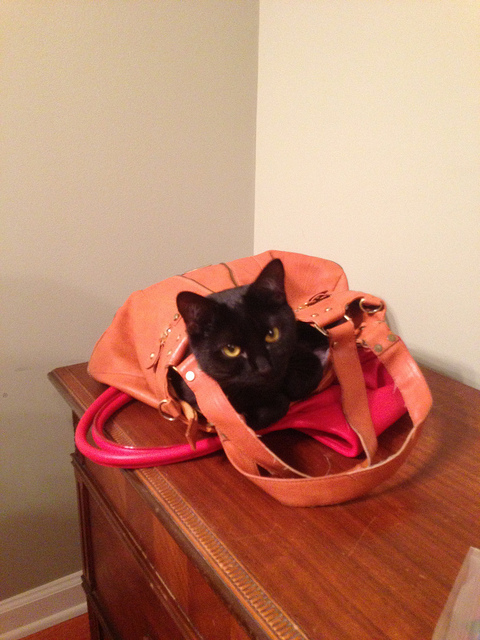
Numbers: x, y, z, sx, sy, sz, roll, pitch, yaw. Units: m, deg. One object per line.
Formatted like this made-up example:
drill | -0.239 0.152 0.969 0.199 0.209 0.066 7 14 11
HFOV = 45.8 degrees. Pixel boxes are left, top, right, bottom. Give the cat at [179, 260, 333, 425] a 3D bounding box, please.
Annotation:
cat | 0.008 0.005 0.556 0.119 0.132 0.155 -14 24 -11

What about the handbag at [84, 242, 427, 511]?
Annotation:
handbag | 0.032 0.032 0.574 0.254 0.125 0.380 -26 34 -24

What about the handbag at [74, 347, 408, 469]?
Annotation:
handbag | 0.008 0.050 0.508 0.232 0.045 0.162 -11 18 -25
